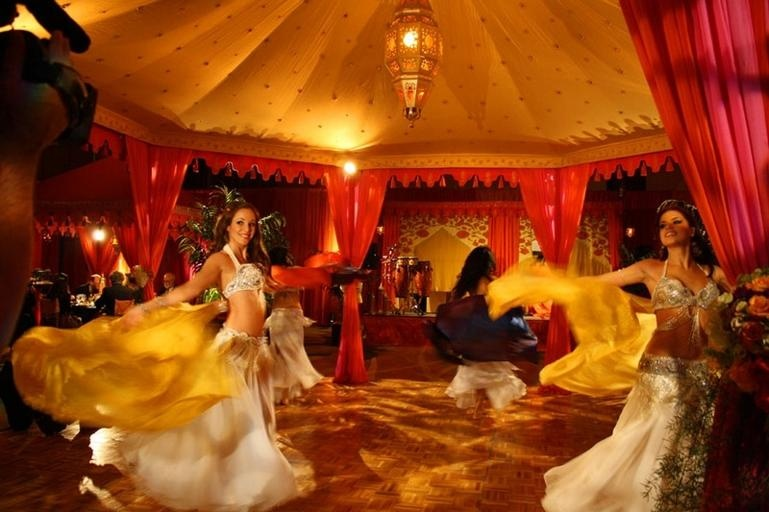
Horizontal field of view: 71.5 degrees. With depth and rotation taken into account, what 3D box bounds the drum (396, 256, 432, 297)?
[{"bbox_3d":[0.675,0.471,12.433,0.794,0.863,0.856,-2,-5,7],"label":"drum"}]
